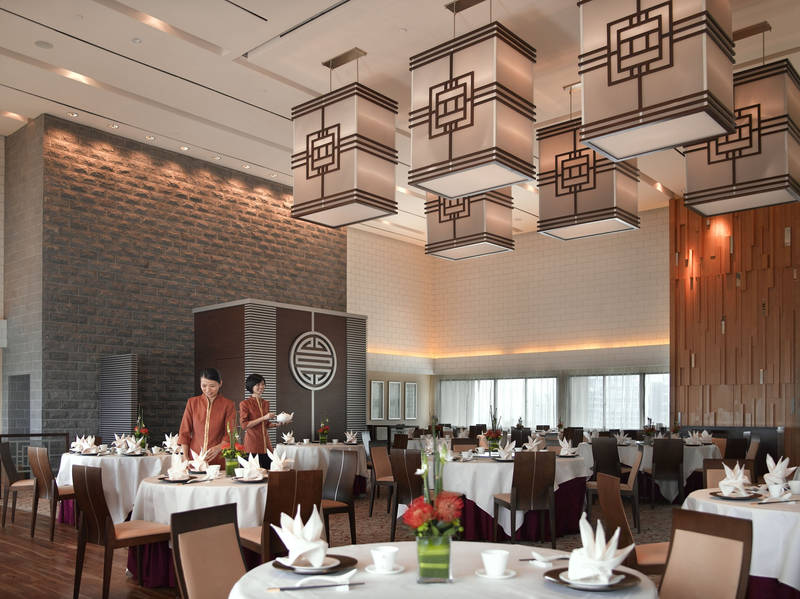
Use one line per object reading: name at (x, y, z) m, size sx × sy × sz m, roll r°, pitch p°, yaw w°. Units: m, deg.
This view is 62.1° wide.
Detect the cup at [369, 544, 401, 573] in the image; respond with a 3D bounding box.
cup at (-0.085, 1.438, 3.707) m, size 0.133 × 0.074 × 0.138 m, roll -5°, pitch -9°, yaw -1°

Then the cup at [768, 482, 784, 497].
cup at (3.094, 1.558, 5.450) m, size 0.084 × 0.104 × 0.136 m, roll -1°, pitch -7°, yaw 0°

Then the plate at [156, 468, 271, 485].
plate at (-1.731, 1.606, 6.036) m, size 1.124 × 0.108 × 0.580 m, roll -7°, pitch -14°, yaw 32°

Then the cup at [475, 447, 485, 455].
cup at (1.057, 1.981, 8.726) m, size 0.111 × 0.084 × 0.087 m, roll -2°, pitch -8°, yaw 2°

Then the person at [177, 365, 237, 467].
person at (-2.015, 1.232, 6.959) m, size 0.563 × 0.980 × 0.940 m, roll 4°, pitch -11°, yaw -19°

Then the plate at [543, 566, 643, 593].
plate at (1.036, 1.497, 3.570) m, size 0.504 × 0.067 × 0.331 m, roll -2°, pitch -12°, yaw 12°

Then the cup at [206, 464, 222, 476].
cup at (-1.711, 1.576, 6.131) m, size 0.095 × 0.093 × 0.124 m, roll 2°, pitch -15°, yaw -8°

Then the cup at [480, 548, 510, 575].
cup at (0.529, 1.432, 3.671) m, size 0.132 × 0.112 × 0.137 m, roll -2°, pitch -12°, yaw 0°
